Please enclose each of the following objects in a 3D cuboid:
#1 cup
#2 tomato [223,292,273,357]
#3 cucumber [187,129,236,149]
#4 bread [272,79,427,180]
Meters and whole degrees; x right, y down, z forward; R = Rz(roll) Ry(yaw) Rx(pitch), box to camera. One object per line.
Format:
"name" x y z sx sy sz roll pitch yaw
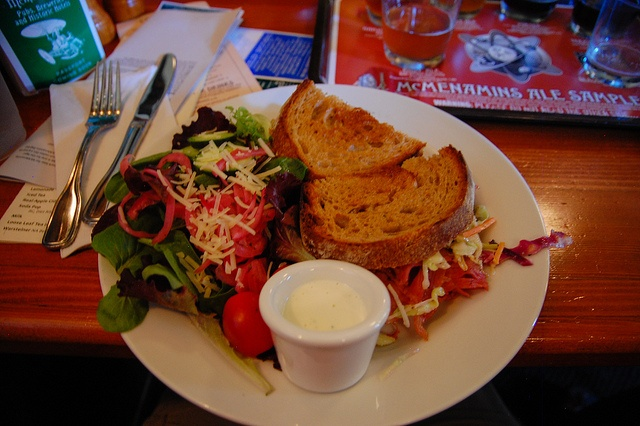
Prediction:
"cup" 0.034 0.430 1.825 0.455 0.303 0.461 -3 28 2
"tomato" -0.283 0.433 1.849 0.195 0.125 0.218 5 76 -1
"cucumber" -0.483 -0.331 2.148 0.117 0.029 0.116 -5 34 -7
"bread" 0.057 -0.346 2.321 0.463 0.169 0.692 -21 56 -6
